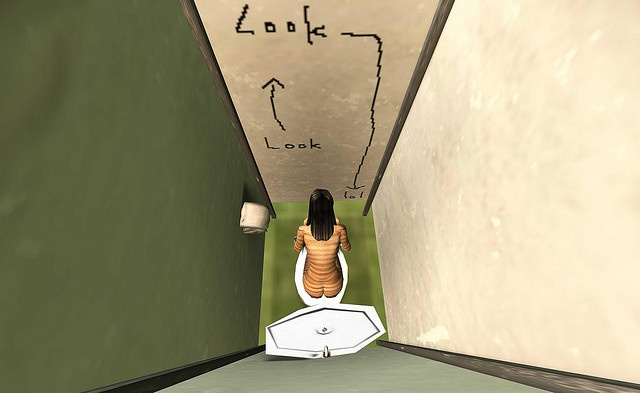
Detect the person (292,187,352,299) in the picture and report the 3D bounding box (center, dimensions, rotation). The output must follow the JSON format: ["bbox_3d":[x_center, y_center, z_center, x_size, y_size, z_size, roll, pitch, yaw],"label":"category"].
[{"bbox_3d":[0.013,0.376,2.767,0.409,0.784,0.603,-8,62,1],"label":"person"}]
